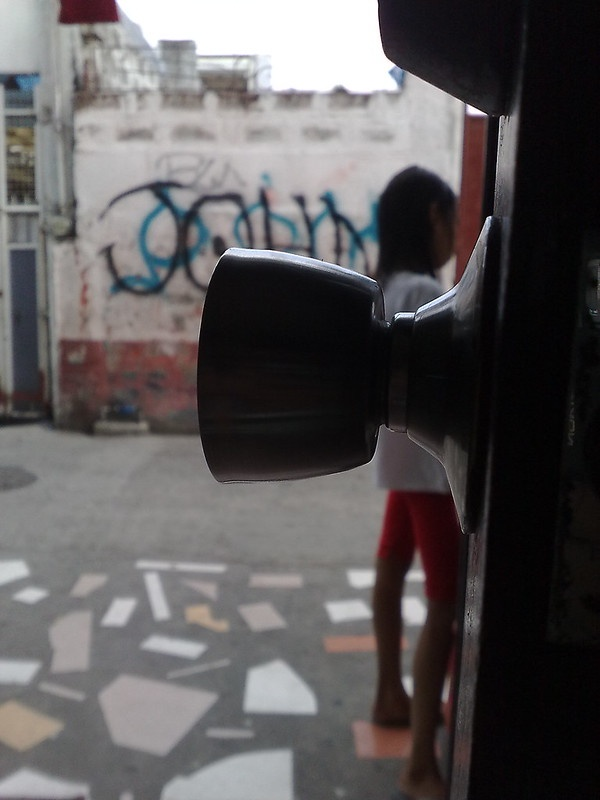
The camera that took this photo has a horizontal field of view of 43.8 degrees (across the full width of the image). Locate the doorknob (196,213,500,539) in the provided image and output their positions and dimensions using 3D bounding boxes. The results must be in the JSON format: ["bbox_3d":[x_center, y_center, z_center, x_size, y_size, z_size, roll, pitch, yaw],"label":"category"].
[{"bbox_3d":[0.030,-0.007,0.354,0.113,0.145,0.110,3,-3,13],"label":"doorknob"}]
